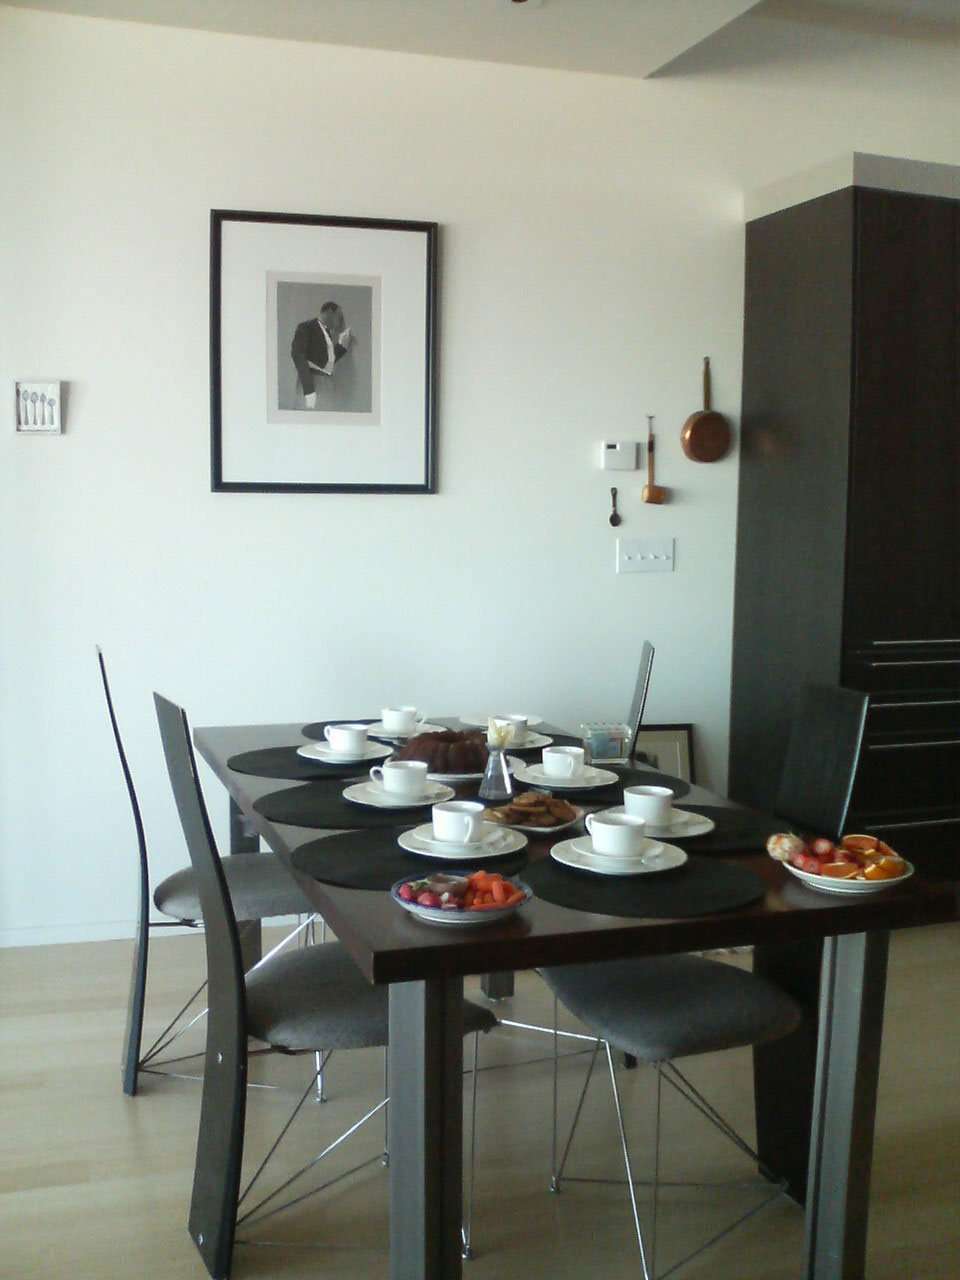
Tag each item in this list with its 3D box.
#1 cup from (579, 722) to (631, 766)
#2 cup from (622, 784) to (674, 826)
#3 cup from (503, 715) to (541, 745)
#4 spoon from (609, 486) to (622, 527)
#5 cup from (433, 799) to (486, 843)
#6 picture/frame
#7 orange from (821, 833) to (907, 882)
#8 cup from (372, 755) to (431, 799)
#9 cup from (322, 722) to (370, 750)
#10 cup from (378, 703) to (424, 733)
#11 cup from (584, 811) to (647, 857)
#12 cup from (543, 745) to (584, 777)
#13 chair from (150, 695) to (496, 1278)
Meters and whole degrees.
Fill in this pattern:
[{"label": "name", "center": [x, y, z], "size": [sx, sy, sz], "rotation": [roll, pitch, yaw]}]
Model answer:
[{"label": "cup", "center": [0.263, 0.209, 2.208], "size": [0.080, 0.063, 0.082], "rotation": [-1, 3, 0]}, {"label": "cup", "center": [0.245, 0.239, 1.591], "size": [0.060, 0.048, 0.055], "rotation": [-1, 10, 0]}, {"label": "cup", "center": [0.091, 0.196, 2.345], "size": [0.050, 0.050, 0.068], "rotation": [-1, 3, -12]}, {"label": "spoon", "center": [0.437, -0.431, 3.531], "size": [0.048, 0.133, 0.015], "rotation": [-6, 10, -30]}, {"label": "cup", "center": [-0.030, 0.235, 1.449], "size": [0.045, 0.041, 0.060], "rotation": [3, 13, 8]}, {"label": "picture/frame", "center": [-0.484, -0.871, 3.197], "size": [0.848, 1.063, 0.068], "rotation": [-1, 7, -11]}, {"label": "orange", "center": [0.477, 0.263, 1.362], "size": [0.056, 0.035, 0.075], "rotation": [3, 1, 2]}, {"label": "cup", "center": [-0.124, 0.215, 1.801], "size": [0.058, 0.047, 0.075], "rotation": [-4, 8, -31]}, {"label": "cup", "center": [-0.263, 0.188, 2.199], "size": [0.053, 0.046, 0.063], "rotation": [-3, 7, -23]}, {"label": "cup", "center": [-0.176, 0.173, 2.438], "size": [0.071, 0.044, 0.052], "rotation": [1, 0, -20]}, {"label": "cup", "center": [0.176, 0.256, 1.441], "size": [0.047, 0.042, 0.062], "rotation": [-1, 0, -8]}, {"label": "cup", "center": [0.152, 0.213, 1.954], "size": [0.044, 0.043, 0.060], "rotation": [4, 15, 18]}, {"label": "chair", "center": [-0.387, 0.529, 2.221], "size": [0.802, 1.380, 0.673], "rotation": [-2, 7, -19]}]
